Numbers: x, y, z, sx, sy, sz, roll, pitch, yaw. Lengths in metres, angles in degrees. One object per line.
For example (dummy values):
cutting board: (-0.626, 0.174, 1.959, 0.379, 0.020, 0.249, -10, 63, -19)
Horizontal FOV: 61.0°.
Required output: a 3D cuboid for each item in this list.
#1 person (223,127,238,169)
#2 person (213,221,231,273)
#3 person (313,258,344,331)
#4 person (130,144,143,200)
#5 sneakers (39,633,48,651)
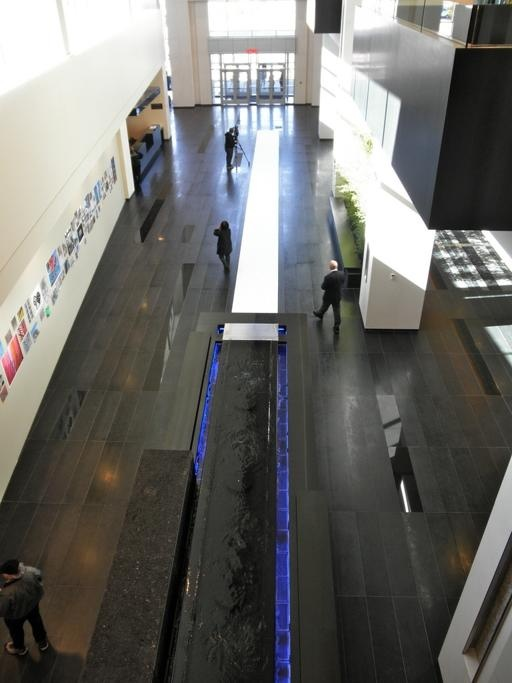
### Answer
person: (-0.871, -6.992, 15.519, 0.373, 1.254, 1.560, -1, 37, -2)
person: (-0.714, -2.139, 9.460, 0.348, 1.060, 0.675, -2, 32, -4)
person: (1.310, -0.889, 7.684, 0.467, 1.308, 1.021, 6, 34, 10)
person: (-3.861, -5.541, 14.161, 0.287, 0.792, 1.660, -7, 41, -12)
sneakers: (-1.738, 2.514, 3.575, 0.044, 0.059, 0.144, 11, 47, -21)
